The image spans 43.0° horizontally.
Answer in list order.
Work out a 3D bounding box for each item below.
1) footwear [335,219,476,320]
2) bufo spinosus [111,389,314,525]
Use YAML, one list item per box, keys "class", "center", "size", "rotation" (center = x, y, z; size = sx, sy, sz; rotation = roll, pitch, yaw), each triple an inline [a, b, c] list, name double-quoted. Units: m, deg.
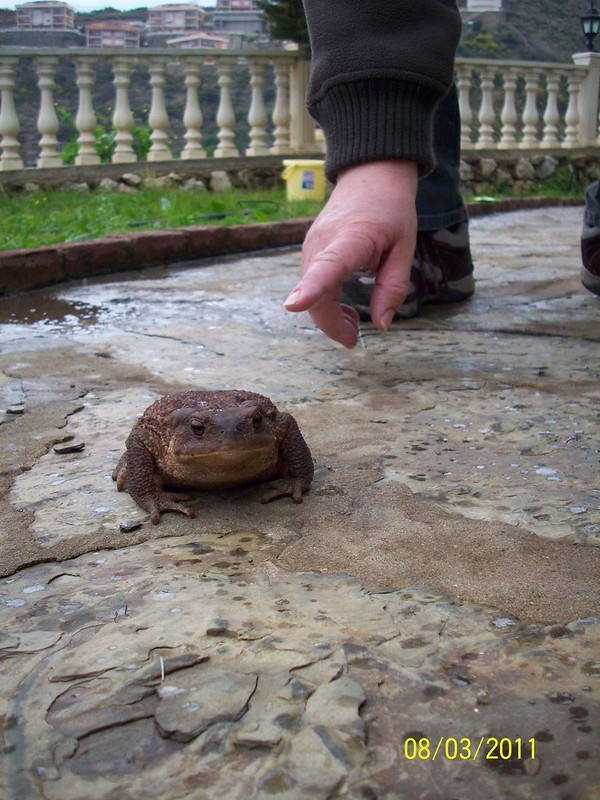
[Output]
- class: "footwear"
  center: [0.495, -0.704, 3.803]
  size: [0.949, 0.524, 0.313]
  rotation: [-18, 22, -35]
- class: "bufo spinosus"
  center: [-0.229, 0.100, 1.919]
  size: [0.512, 0.196, 0.542]
  rotation: [-3, 11, -11]
